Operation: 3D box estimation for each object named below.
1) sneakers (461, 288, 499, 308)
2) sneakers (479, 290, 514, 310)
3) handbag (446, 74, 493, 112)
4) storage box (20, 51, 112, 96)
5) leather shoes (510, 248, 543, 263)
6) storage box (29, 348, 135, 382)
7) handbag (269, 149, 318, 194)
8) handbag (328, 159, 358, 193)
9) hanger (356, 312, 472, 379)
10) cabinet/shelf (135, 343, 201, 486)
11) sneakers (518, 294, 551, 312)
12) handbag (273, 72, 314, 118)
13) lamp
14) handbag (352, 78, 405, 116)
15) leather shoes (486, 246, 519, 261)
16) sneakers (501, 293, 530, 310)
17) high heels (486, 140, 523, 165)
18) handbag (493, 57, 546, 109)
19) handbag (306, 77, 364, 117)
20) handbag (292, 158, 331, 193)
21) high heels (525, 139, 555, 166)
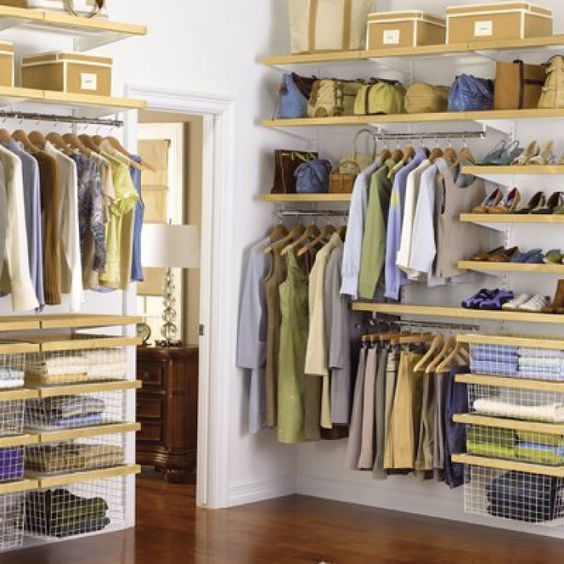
[{"bbox_3d":[1.057,0.069,3.484,0.244,0.112,0.087,-6,6,-44],"label":"sneakers"},{"bbox_3d":[1.121,0.071,3.433,0.236,0.106,0.080,-12,-10,-43],"label":"sneakers"},{"bbox_3d":[1.006,-1.002,3.486,0.171,0.267,0.087,-1,0,-24],"label":"handbag"},{"bbox_3d":[-0.956,-0.921,2.890,0.230,0.144,0.255,2,4,8],"label":"storage box"},{"bbox_3d":[1.272,-0.130,3.352,0.088,0.047,0.129,-2,0,37],"label":"leather shoes"},{"bbox_3d":[-0.907,0.345,2.881,0.233,0.091,0.172,-3,3,-40],"label":"storage box"},{"bbox_3d":[0.098,-0.719,4.273,0.325,0.293,0.107,-5,7,-43],"label":"handbag"},{"bbox_3d":[0.375,-0.650,4.026,0.139,0.239,0.217,0,0,4],"label":"handbag"},{"bbox_3d":[0.784,0.326,3.776,0.445,0.194,0.343,3,3,38],"label":"hanger"},{"bbox_3d":[-0.877,0.966,5.000,0.664,0.898,0.644,-2,-7,20],"label":"cabinet/shelf"},{"bbox_3d":[1.278,0.104,3.321,0.077,0.097,0.218,-1,-3,36],"label":"sneakers"},{"bbox_3d":[0.065,-1.209,4.274,0.123,0.320,0.306,-6,8,17],"label":"handbag"},{"bbox_3d":[-0.818,0.033,4.799,0.385,0.943,0.902,-2,7,-12],"label":"lamp"},{"bbox_3d":[0.594,-1.108,3.905,0.274,0.217,0.276,-10,16,-39],"label":"handbag"},{"bbox_3d":[1.152,-0.142,3.439,0.074,0.074,0.215,1,1,32],"label":"leather shoes"},{"bbox_3d":[1.214,0.093,3.388,0.066,0.090,0.199,-6,-1,44],"label":"sneakers"},{"bbox_3d":[1.197,-0.681,3.517,0.103,0.148,0.328,-3,4,30],"label":"high heels"},{"bbox_3d":[1.253,-1.012,3.393,0.233,0.265,0.090,-6,10,-28],"label":"handbag"},{"bbox_3d":[0.319,-1.141,4.060,0.224,0.224,0.290,8,14,30],"label":"handbag"},{"bbox_3d":[0.209,-0.679,4.161,0.232,0.247,0.184,-20,19,-39],"label":"handbag"},{"bbox_3d":[1.333,-0.679,3.388,0.098,0.093,0.303,3,20,25],"label":"high heels"}]
